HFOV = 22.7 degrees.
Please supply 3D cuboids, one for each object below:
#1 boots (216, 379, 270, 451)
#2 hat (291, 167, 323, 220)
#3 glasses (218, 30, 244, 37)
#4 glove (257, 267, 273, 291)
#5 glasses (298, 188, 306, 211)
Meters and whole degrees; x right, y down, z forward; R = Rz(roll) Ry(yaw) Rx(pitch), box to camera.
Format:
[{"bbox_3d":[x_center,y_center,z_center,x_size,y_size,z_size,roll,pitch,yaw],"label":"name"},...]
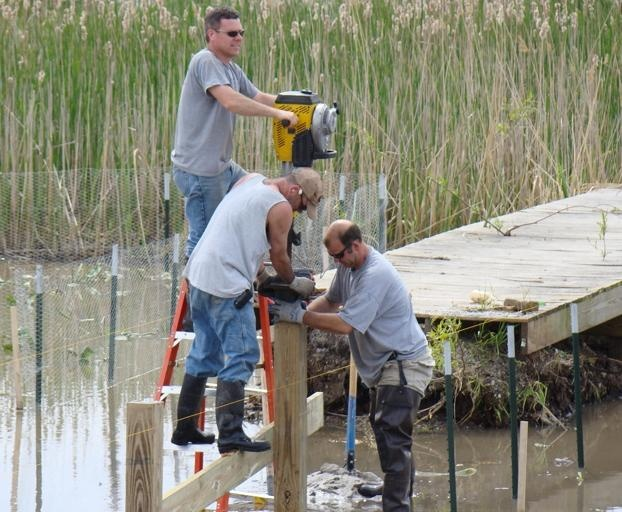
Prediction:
[{"bbox_3d":[-0.519,1.262,11.940,0.446,0.227,0.748,-5,50,-2],"label":"boots"},{"bbox_3d":[-0.007,-0.526,12.061,0.175,0.401,0.223,-22,4,9],"label":"hat"},{"bbox_3d":[-0.606,-1.766,12.372,0.165,0.043,0.055,-5,2,-37],"label":"glasses"},{"bbox_3d":[-0.368,0.183,12.190,0.086,0.195,0.171,3,-20,4],"label":"glove"},{"bbox_3d":[-0.067,-0.432,11.991,0.054,0.135,0.079,8,-1,-27],"label":"glasses"}]
